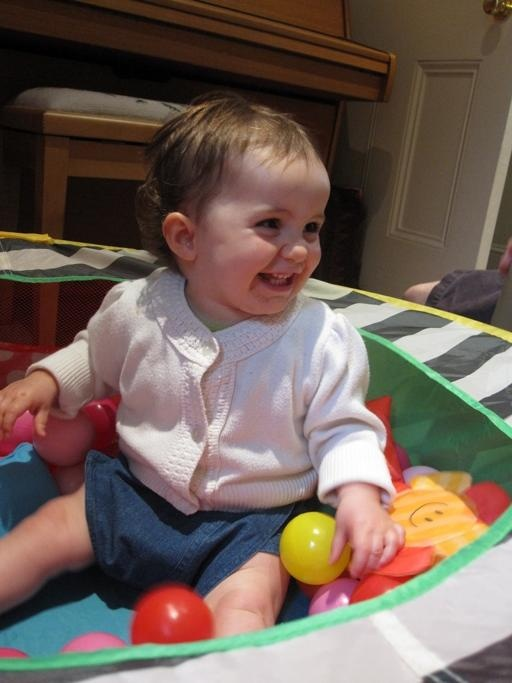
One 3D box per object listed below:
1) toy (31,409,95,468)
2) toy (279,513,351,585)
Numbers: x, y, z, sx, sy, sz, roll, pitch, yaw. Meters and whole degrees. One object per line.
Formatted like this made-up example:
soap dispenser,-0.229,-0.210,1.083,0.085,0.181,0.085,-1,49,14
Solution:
toy,-0.247,0.126,0.750,0.081,0.083,0.077,3,17,-5
toy,0.052,0.201,0.548,0.054,0.061,0.063,-1,22,-24
